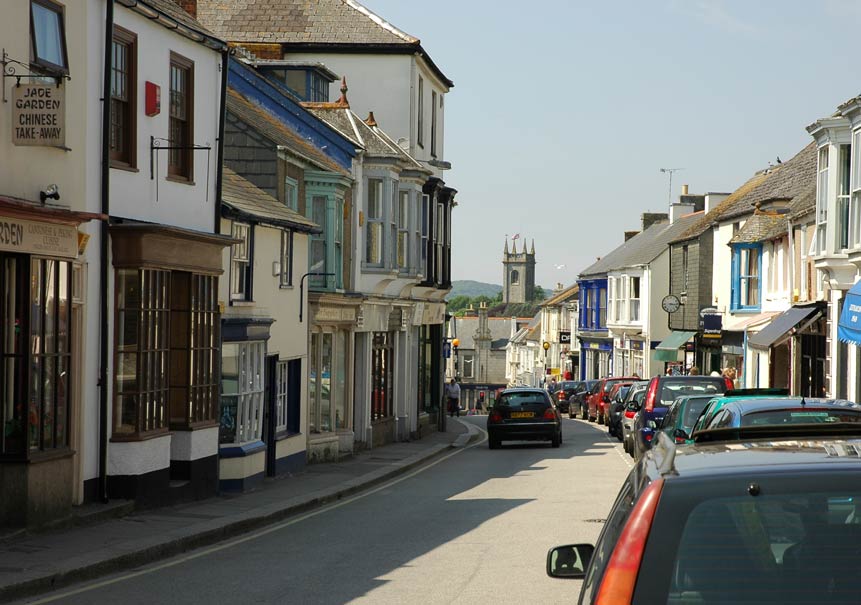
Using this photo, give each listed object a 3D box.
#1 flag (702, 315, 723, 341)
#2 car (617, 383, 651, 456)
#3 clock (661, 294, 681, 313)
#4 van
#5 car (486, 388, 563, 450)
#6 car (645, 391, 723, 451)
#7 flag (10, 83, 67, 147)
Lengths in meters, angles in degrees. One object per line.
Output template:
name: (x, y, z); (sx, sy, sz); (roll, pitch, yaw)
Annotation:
flag: (10.553, 0.927, 54.798); (0.764, 1.190, 0.827); (-1, -1, 5)
car: (5.034, 3.053, 36.473); (0.856, 0.908, 1.903); (0, 3, 7)
clock: (10.414, 0.035, 63.487); (0.683, 0.787, 0.141); (9, 4, 0)
van: (5.235, 2.233, 30.457); (1.771, 1.803, 3.277); (0, -1, 1)
car: (2.448, 3.063, 38.501); (1.850, 1.624, 0.797); (-1, -5, -4)
car: (4.593, 2.100, 26.459); (1.120, 1.128, 2.048); (0, -2, 0)
flag: (-5.960, -2.929, 22.405); (0.778, 0.926, 0.186); (-1, -4, -7)
